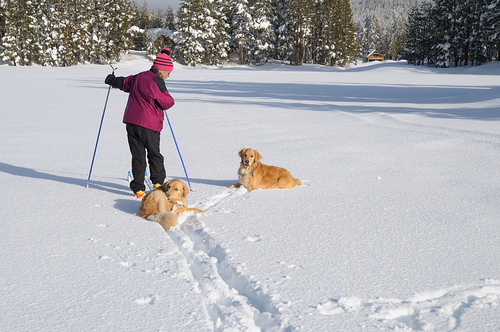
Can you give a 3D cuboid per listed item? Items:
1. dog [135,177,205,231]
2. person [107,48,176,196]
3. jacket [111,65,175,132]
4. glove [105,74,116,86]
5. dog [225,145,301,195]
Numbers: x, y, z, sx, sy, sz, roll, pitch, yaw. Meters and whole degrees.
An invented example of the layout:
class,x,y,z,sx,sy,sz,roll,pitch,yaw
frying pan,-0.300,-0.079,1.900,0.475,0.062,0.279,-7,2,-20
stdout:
class,x,y,z,sx,sy,sz,roll,pitch,yaw
dog,-1.240,0.623,7.018,0.984,0.470,0.767,-6,9,-35
person,-1.889,-0.793,7.841,1.043,2.661,1.484,-3,11,-18
jacket,-1.982,-1.335,8.014,1.344,1.087,0.754,19,16,22
glove,-2.611,-1.635,8.055,0.210,0.182,0.162,2,10,17
dog,0.281,0.158,8.463,1.510,0.886,0.575,6,2,-19
